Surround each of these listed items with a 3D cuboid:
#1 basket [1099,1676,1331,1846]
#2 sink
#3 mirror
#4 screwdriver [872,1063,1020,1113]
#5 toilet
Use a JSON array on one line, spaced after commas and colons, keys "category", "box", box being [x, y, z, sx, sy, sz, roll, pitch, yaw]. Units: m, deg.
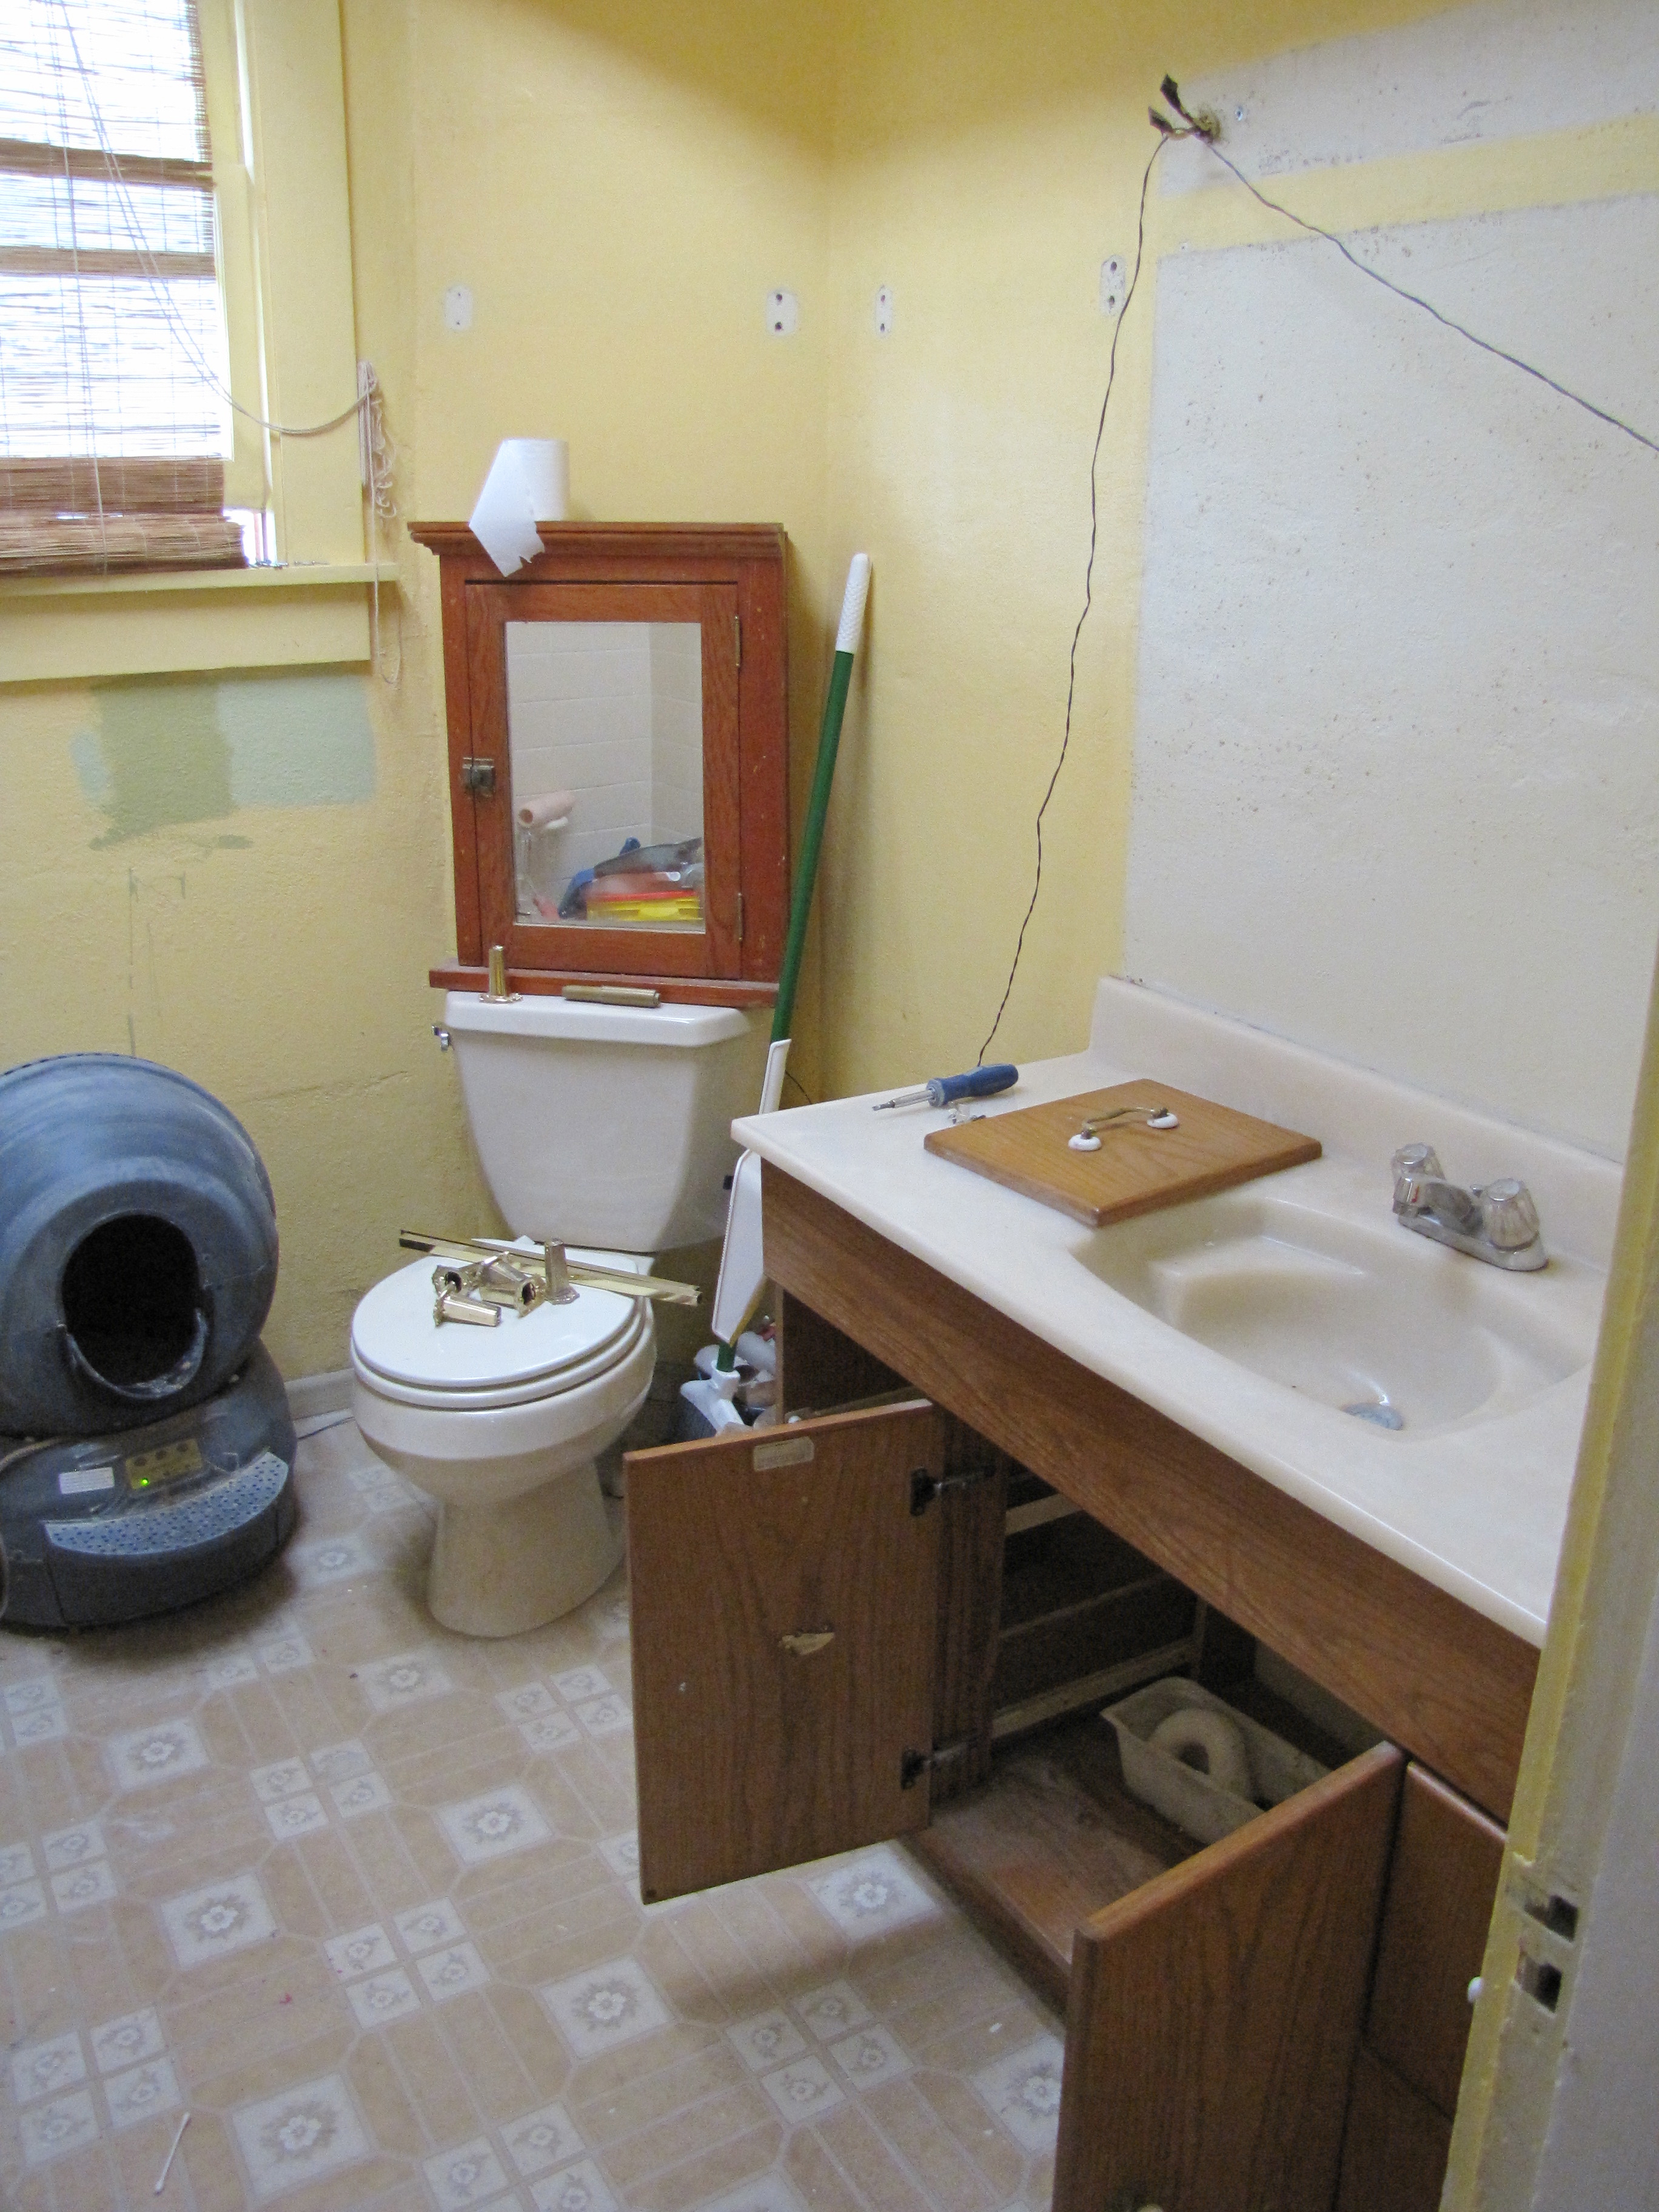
[{"category": "basket", "box": [0.385, 0.655, 1.709, 0.123, 0.092, 0.232, -2, 11, -33]}, {"category": "sink", "box": [0.407, 0.163, 1.384, 0.375, 0.104, 0.219, 12, 22, 30]}, {"category": "mirror", "box": [-0.272, -0.420, 2.135, 0.430, 0.554, 0.213, 1, 14, 1]}, {"category": "screwdriver", "box": [0.129, -0.020, 1.872, 0.179, 0.033, 0.033, -11, 16, -30]}, {"category": "toilet", "box": [-0.362, 0.238, 2.195, 0.423, 0.691, 0.649, 5, 16, 13]}]
